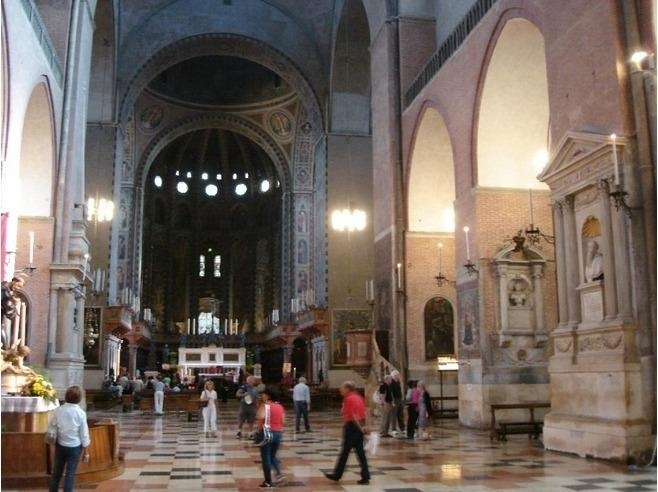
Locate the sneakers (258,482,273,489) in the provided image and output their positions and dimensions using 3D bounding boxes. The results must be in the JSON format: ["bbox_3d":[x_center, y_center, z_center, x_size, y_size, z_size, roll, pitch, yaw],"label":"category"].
[{"bbox_3d":[-0.953,3.629,11.036,0.169,0.117,0.079,4,-11,-3],"label":"sneakers"}]

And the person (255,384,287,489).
[{"bbox_3d":[-0.906,2.977,11.449,0.404,1.464,0.985,-3,-10,-4],"label":"person"}]

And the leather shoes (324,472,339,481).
[{"bbox_3d":[0.033,3.657,11.537,0.169,0.115,0.410,4,-12,-34],"label":"leather shoes"}]

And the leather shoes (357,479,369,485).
[{"bbox_3d":[0.544,3.660,11.325,0.119,0.062,0.075,-10,-6,-10],"label":"leather shoes"}]

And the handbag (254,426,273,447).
[{"bbox_3d":[-1.005,2.873,11.077,0.208,0.289,0.282,13,-9,-16],"label":"handbag"}]

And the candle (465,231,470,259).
[{"bbox_3d":[3.459,-0.023,18.179,0.122,0.762,0.357,-5,-10,10],"label":"candle"}]

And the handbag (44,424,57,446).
[{"bbox_3d":[-3.789,2.549,9.928,0.131,0.282,0.171,2,-11,-26],"label":"handbag"}]

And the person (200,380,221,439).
[{"bbox_3d":[-2.737,3.723,16.706,0.481,1.249,0.443,-10,-16,27],"label":"person"}]

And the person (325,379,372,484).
[{"bbox_3d":[0.306,2.999,11.789,0.613,1.556,0.840,-4,-10,2],"label":"person"}]

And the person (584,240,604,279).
[{"bbox_3d":[4.982,0.257,13.667,0.185,0.774,0.500,0,-11,-20],"label":"person"}]

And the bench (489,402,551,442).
[{"bbox_3d":[4.294,3.856,16.024,1.579,0.794,0.546,6,-16,-31],"label":"bench"}]
